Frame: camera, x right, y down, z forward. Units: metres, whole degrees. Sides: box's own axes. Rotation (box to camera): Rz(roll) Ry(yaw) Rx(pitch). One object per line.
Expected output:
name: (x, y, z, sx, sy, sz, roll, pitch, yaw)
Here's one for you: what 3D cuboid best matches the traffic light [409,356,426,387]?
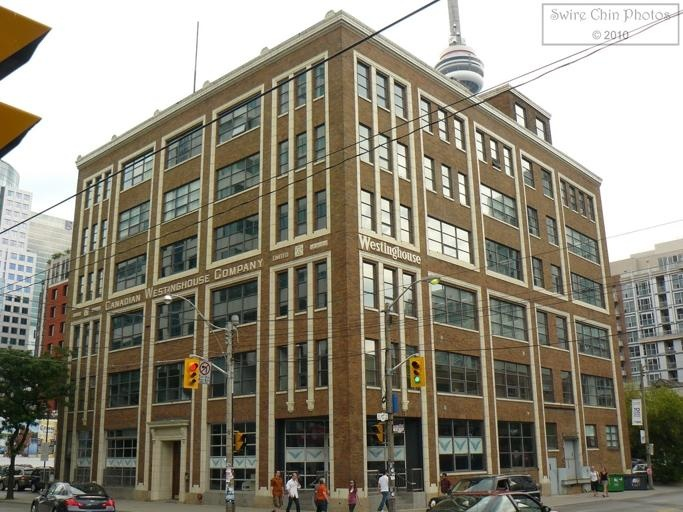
traffic light: (4.183, 6.249, 40.782, 0.771, 1.817, 1.279, -3, -26, 1)
